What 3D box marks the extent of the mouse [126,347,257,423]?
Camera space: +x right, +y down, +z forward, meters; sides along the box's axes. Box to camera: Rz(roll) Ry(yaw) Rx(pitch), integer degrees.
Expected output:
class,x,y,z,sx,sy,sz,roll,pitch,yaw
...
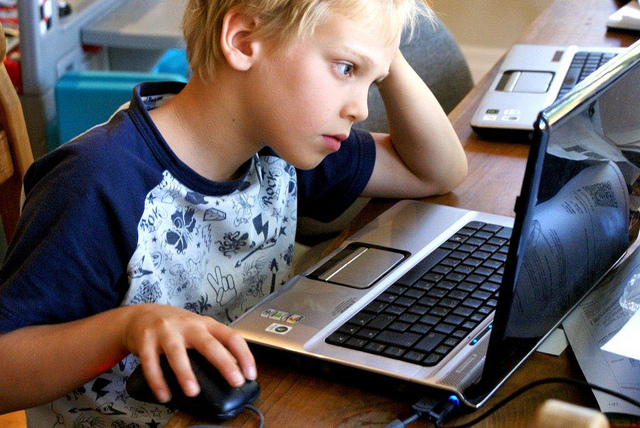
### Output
class,x,y,z,sx,sy,sz,roll,pitch,yaw
mouse,-0.163,0.219,0.672,0.133,0.046,0.081,12,42,19
